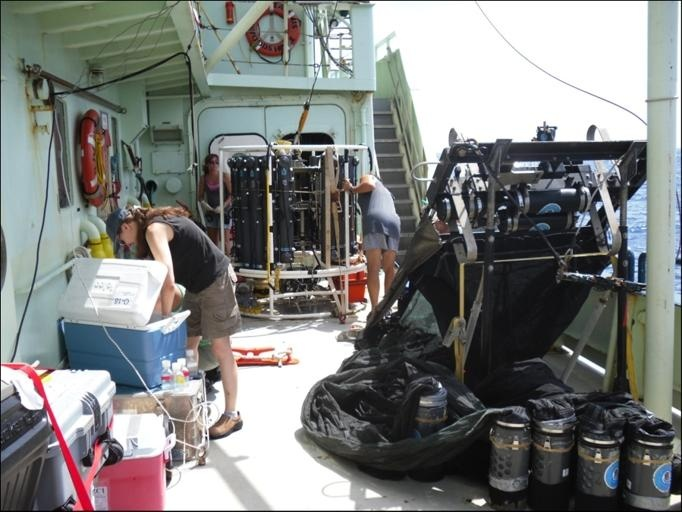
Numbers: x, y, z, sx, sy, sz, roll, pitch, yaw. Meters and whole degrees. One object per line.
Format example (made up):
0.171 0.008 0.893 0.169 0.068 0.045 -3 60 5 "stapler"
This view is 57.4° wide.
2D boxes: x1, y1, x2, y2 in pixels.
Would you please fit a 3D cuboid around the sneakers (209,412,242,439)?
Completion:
-0.986 1.435 5.263 0.118 0.136 0.301 3 6 34 "sneakers"

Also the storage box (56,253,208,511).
-1.693 0.824 5.102 1.298 1.601 0.488 0 7 19 "storage box"

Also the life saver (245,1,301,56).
-1.325 -4.177 11.670 1.140 1.292 0.315 -4 4 -10 "life saver"

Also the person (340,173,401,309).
0.413 -0.208 7.976 0.668 1.691 0.700 -2 7 1 "person"
